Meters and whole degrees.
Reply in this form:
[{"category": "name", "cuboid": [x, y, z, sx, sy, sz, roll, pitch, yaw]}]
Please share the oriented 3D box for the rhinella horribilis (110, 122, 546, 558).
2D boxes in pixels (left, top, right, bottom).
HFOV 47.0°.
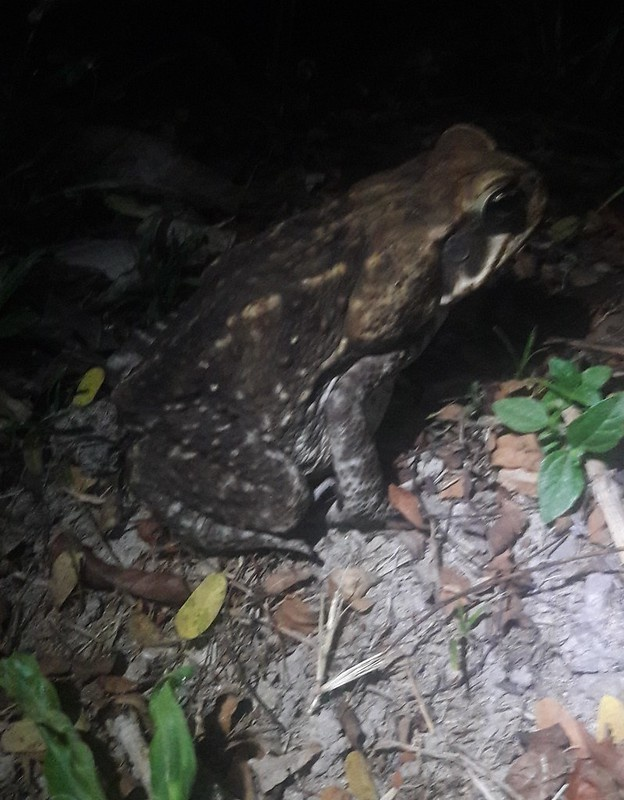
[{"category": "rhinella horribilis", "cuboid": [-0.011, -0.043, 1.223, 0.760, 0.438, 0.527, -24, 50, -2]}]
